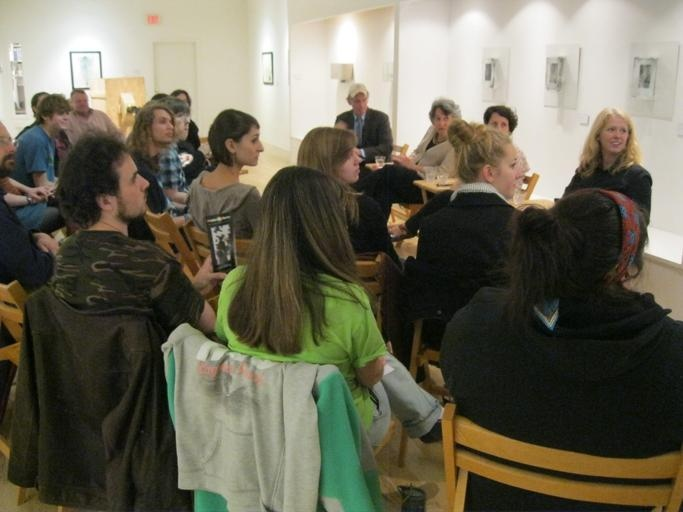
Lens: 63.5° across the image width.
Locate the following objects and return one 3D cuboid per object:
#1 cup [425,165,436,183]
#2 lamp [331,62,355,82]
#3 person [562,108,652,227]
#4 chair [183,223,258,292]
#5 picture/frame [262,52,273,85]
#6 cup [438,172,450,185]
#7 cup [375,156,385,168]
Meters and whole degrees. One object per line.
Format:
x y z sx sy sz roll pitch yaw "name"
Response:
0.837 -0.799 5.306 0.127 0.160 0.134 1 6 0 "cup"
-0.019 -3.546 10.620 0.207 0.355 0.639 -5 11 -30 "lamp"
1.962 -0.614 4.247 0.642 1.033 0.530 11 18 43 "person"
-0.551 -0.008 2.553 0.221 0.428 0.283 3 30 1 "chair"
-1.845 -4.719 13.724 0.068 0.828 0.736 -3 11 -19 "picture/frame"
0.917 -0.729 5.146 0.105 0.132 0.109 0 8 0 "cup"
0.373 -0.997 5.784 0.117 0.145 0.125 0 11 0 "cup"
